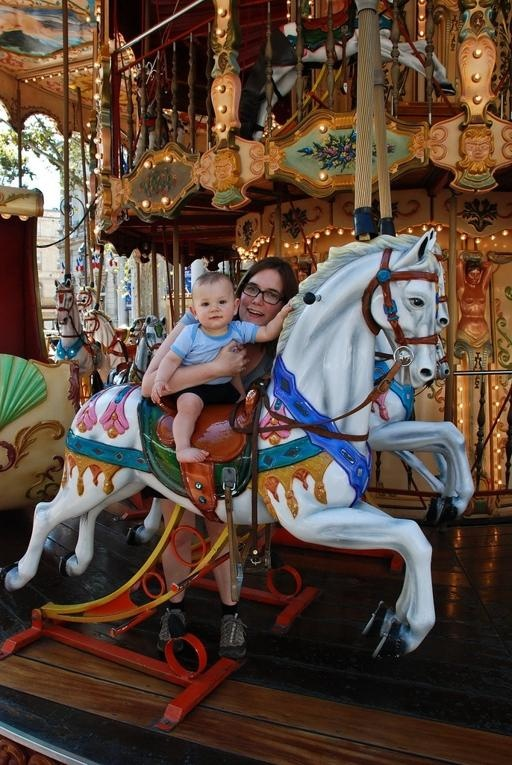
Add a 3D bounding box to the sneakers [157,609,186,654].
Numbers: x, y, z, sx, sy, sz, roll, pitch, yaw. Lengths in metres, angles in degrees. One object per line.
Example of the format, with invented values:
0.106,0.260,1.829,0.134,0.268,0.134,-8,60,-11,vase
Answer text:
-0.322,0.918,2.526,0.076,0.091,0.213,2,-2,3,sneakers
